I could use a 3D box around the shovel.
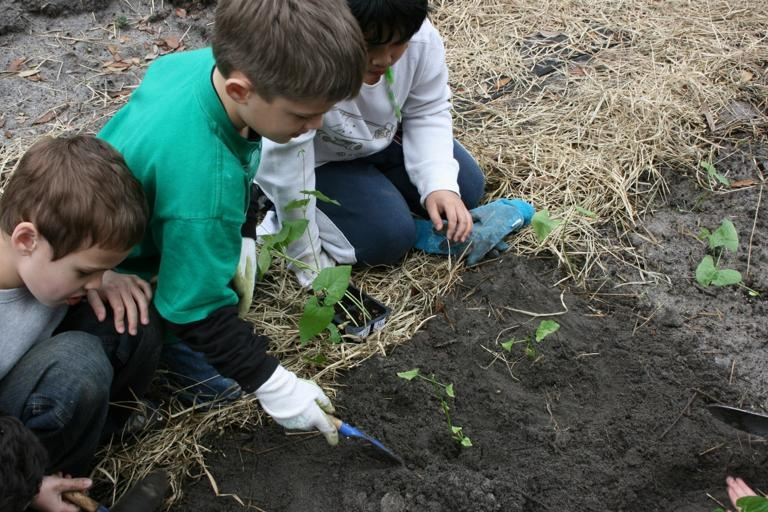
[{"bbox_3d":[-0.097,0.887,2.928,0.080,0.391,0.054,-34,32,42],"label":"shovel"}]

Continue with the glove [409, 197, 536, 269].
[{"bbox_3d":[0.540,-0.126,3.546,0.638,0.192,0.340,-28,61,-1],"label":"glove"}]

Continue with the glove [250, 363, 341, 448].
[{"bbox_3d":[-0.378,0.677,2.858,0.256,0.447,0.167,-45,30,15],"label":"glove"}]
